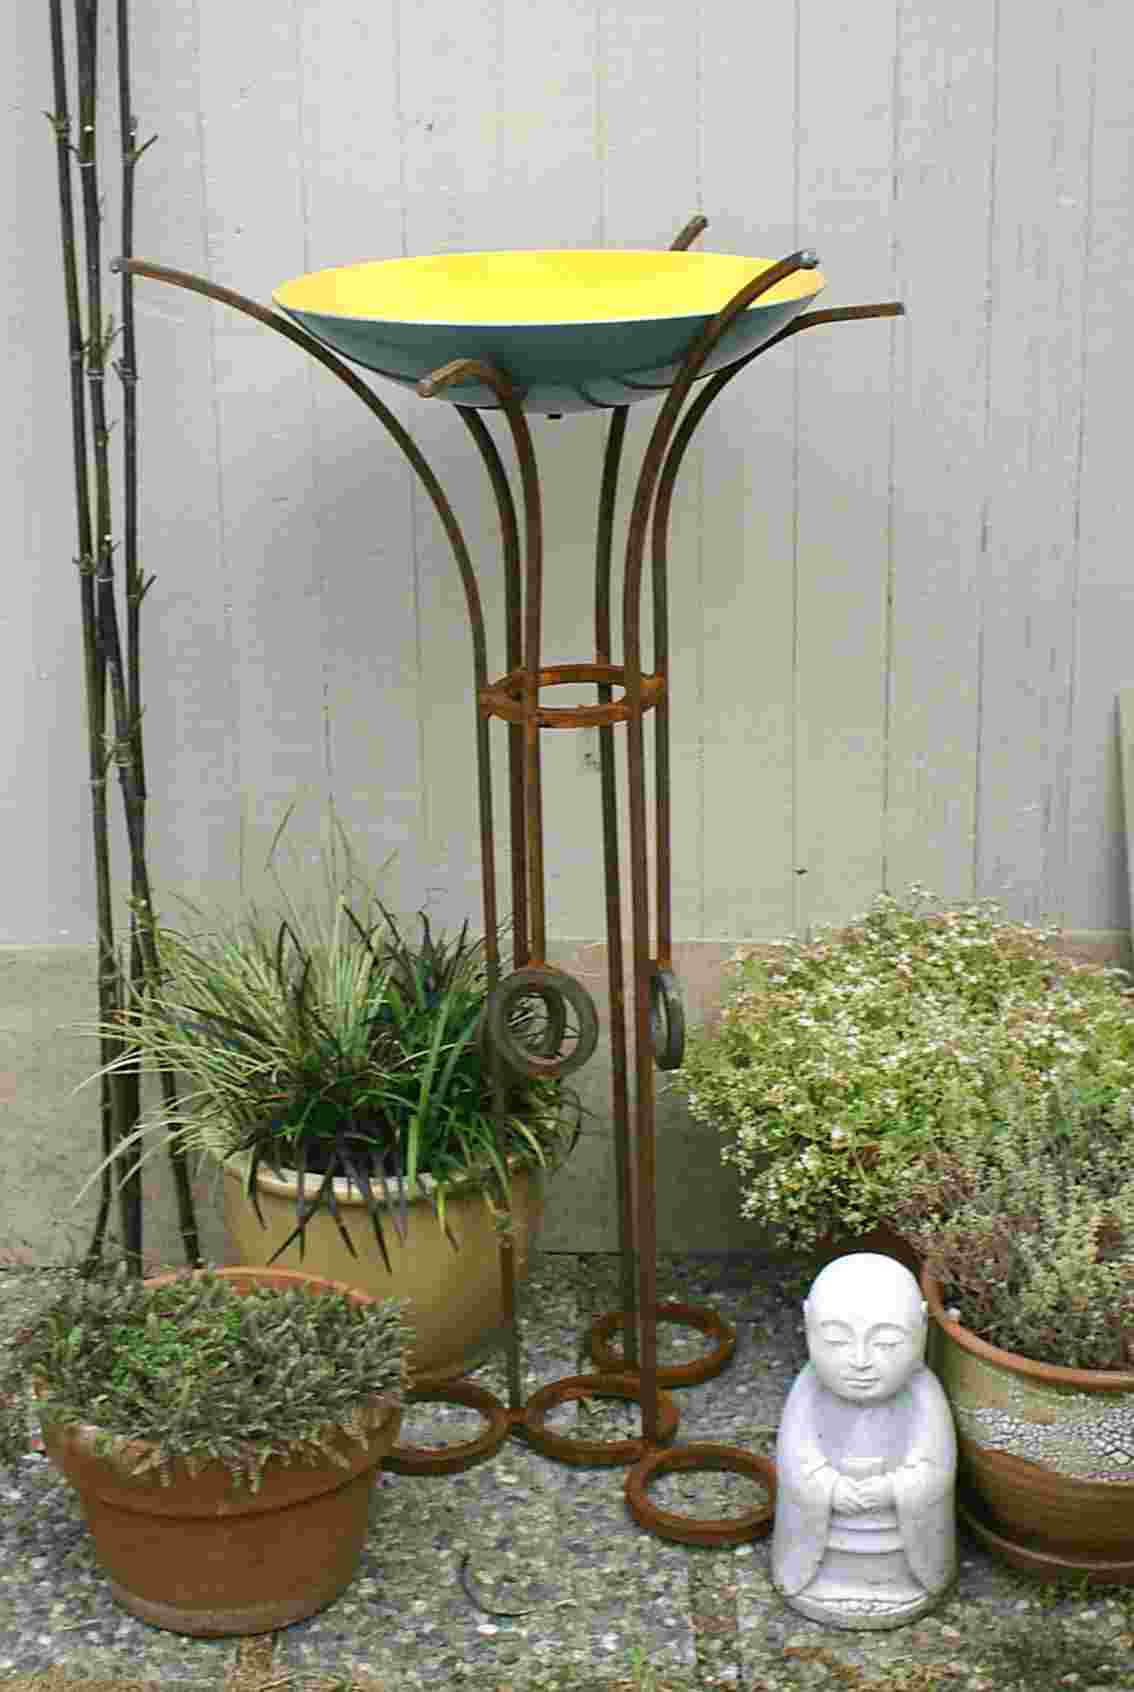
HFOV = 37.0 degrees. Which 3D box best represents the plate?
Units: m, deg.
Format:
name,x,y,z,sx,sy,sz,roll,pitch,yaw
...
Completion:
name,x,y,z,sx,sy,sz,roll,pitch,yaw
plate,-0.045,-0.708,2.267,0.675,0.243,0.737,4,14,20
